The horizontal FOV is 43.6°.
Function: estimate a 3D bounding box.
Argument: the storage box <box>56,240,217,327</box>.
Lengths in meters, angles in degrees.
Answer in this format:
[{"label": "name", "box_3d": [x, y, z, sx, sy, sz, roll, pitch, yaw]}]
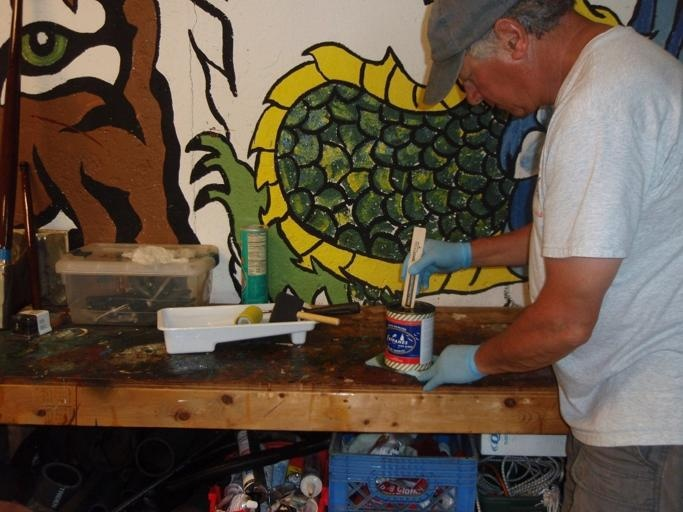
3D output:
[{"label": "storage box", "box_3d": [-0.699, 0.102, 2.967, 0.439, 0.197, 0.294, 0, 13, -3]}]

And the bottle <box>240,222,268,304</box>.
[{"label": "bottle", "box_3d": [-0.302, 0.031, 3.014, 0.090, 0.266, 0.087, -1, 20, 1]}]
